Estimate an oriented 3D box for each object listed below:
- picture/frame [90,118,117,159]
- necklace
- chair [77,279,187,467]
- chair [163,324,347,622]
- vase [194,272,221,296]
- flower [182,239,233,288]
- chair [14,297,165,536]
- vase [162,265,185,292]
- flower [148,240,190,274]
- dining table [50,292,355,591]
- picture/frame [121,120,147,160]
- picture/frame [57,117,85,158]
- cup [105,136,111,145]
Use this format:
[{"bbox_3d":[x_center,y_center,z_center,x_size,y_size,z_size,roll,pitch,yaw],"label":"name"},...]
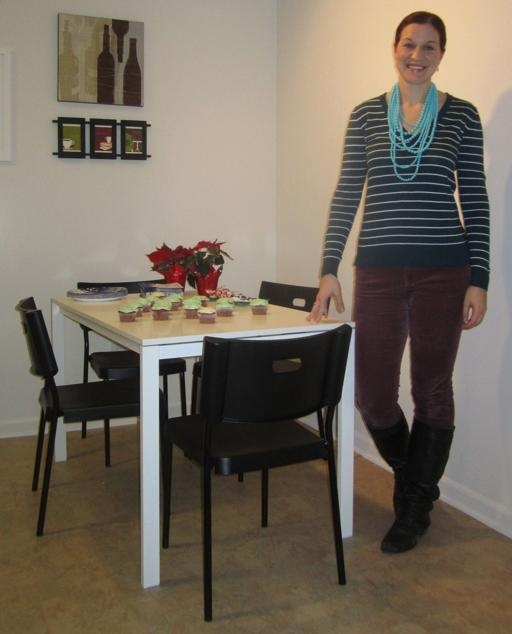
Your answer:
[{"bbox_3d":[-0.789,-0.927,2.828,0.130,0.213,0.016,-2,-10,-9],"label":"picture/frame"},{"bbox_3d":[0.471,-0.558,1.643,0.145,0.299,0.058,2,5,22],"label":"necklace"},{"bbox_3d":[-0.581,0.202,2.421,0.372,0.672,0.358,-2,7,-30],"label":"chair"},{"bbox_3d":[-0.021,0.358,1.483,0.473,0.734,0.504,0,8,-3],"label":"chair"},{"bbox_3d":[-0.193,-0.136,2.156,0.088,0.107,0.090,-5,13,-35],"label":"vase"},{"bbox_3d":[-0.202,-0.206,2.144,0.150,0.180,0.243,0,4,-7],"label":"flower"},{"bbox_3d":[-0.559,0.309,1.897,0.441,0.712,0.352,-3,7,-28],"label":"chair"},{"bbox_3d":[-0.331,-0.146,2.143,0.073,0.100,0.090,-4,5,-30],"label":"vase"},{"bbox_3d":[-0.317,-0.237,2.106,0.129,0.066,0.137,-2,10,23],"label":"flower"},{"bbox_3d":[-0.171,0.485,1.844,0.697,0.812,1.066,-2,6,-30],"label":"dining table"},{"bbox_3d":[-0.644,-0.938,2.878,0.171,0.230,0.018,-4,47,-16],"label":"picture/frame"},{"bbox_3d":[-0.925,-0.906,2.756,0.163,0.230,0.018,-2,-14,-12],"label":"picture/frame"},{"bbox_3d":[-0.766,-0.922,2.832,0.028,0.033,0.030,1,-7,0],"label":"cup"}]
